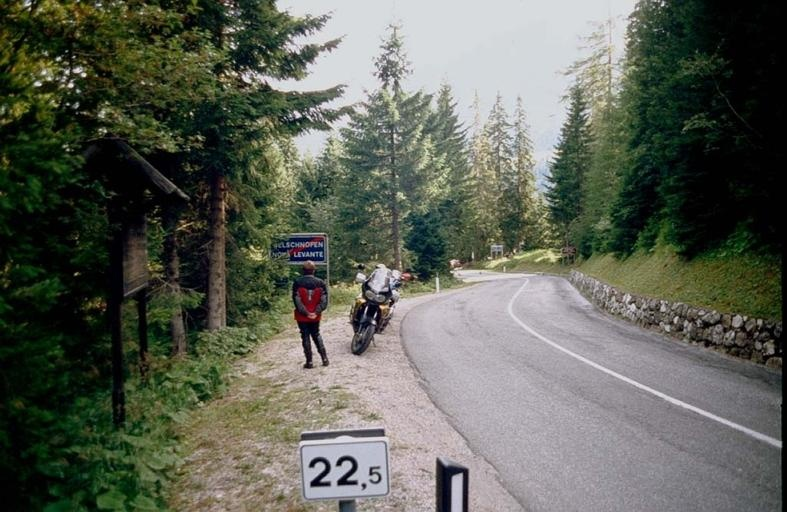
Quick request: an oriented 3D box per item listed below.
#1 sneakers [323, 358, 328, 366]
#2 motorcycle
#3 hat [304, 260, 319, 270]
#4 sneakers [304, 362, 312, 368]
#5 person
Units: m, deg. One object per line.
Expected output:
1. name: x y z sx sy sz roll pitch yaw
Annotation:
1. sneakers: -1.677 2.662 16.249 0.176 0.179 0.104 -2 9 -9
2. motorcycle: -0.534 1.395 17.672 0.895 2.309 1.650 1 4 35
3. hat: -2.357 0.244 18.735 0.310 0.365 0.432 6 -2 4
4. sneakers: -2.085 2.703 16.083 0.107 0.203 0.202 -3 18 -26
5. person: -2.075 1.443 16.576 0.833 2.597 1.169 -2 4 -8
